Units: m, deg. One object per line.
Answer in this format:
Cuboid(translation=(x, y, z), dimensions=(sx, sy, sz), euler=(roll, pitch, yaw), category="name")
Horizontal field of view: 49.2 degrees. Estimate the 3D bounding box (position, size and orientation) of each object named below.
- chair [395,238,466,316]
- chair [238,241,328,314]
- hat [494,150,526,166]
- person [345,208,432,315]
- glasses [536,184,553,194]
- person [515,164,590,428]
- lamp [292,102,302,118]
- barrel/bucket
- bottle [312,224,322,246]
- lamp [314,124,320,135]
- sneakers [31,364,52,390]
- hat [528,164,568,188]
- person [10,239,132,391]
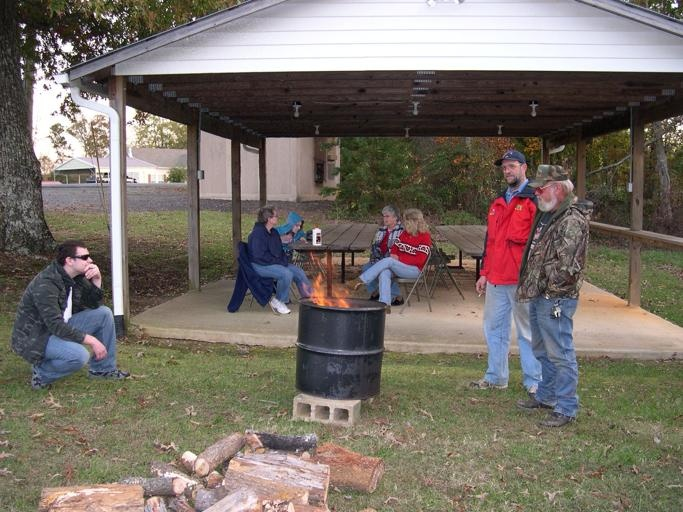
Cuboid(translation=(1.418, 0.298, 11.884), dimensions=(1.086, 1.643, 0.878), euler=(-1, 7, 6), category="chair")
Cuboid(translation=(-1.047, 0.283, 10.597), dimensions=(1.136, 0.985, 0.554), euler=(0, 6, -10), category="chair")
Cuboid(translation=(1.714, -0.972, 7.313), dimensions=(0.200, 0.125, 0.292), euler=(1, 0, 45), category="hat")
Cuboid(translation=(0.725, 0.016, 10.549), dimensions=(0.949, 1.496, 0.607), euler=(3, 9, -38), category="person")
Cuboid(translation=(1.820, -0.606, 6.749), dimensions=(0.081, 0.027, 0.079), euler=(-21, -7, -32), category="glasses")
Cuboid(translation=(1.912, 0.339, 6.832), dimensions=(0.588, 2.335, 0.418), euler=(6, 7, 38), category="person")
Cuboid(translation=(-0.671, -2.228, 11.358), dimensions=(0.199, 0.236, 0.200), euler=(-2, 6, -11), category="lamp")
Cuboid(translation=(0.035, 0.827, 7.041), dimensions=(0.774, 0.901, 0.830), euler=(2, -2, 0), category="barrel/bucket")
Cuboid(translation=(-0.381, -0.294, 11.076), dimensions=(0.191, 0.385, 0.205), euler=(-1, 2, 0), category="bottle")
Cuboid(translation=(-0.480, -2.424, 14.270), dimensions=(0.114, 0.148, 0.121), euler=(-2, 5, -11), category="lamp")
Cuboid(translation=(-2.879, 1.168, 7.266), dimensions=(0.205, 0.237, 0.147), euler=(3, 0, 1), category="sneakers")
Cuboid(translation=(1.886, -0.727, 6.802), dimensions=(0.281, 0.160, 0.200), euler=(-1, 10, 4), category="hat")
Cuboid(translation=(-2.653, 0.538, 7.361), dimensions=(1.016, 1.466, 0.911), euler=(-4, 6, -39), category="person")
